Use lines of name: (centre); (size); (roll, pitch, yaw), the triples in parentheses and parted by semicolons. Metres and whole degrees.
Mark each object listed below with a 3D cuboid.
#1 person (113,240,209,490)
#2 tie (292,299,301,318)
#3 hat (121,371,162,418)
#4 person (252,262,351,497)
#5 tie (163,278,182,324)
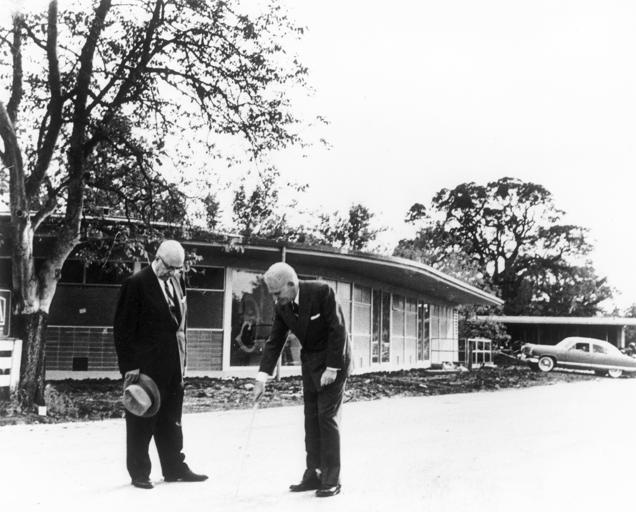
person: (-1.597, 1.063, 6.199); (0.645, 2.378, 0.803); (1, -5, 8)
tie: (-0.211, 0.513, 6.208); (0.082, 0.146, 0.132); (0, 4, -5)
hat: (-1.647, 1.290, 5.899); (0.353, 0.398, 0.105); (-39, -2, 11)
person: (-0.109, 1.206, 6.180); (0.860, 2.202, 0.636); (2, -5, 4)
tie: (-1.409, 0.411, 6.112); (0.129, 0.484, 0.059); (-2, -5, -42)
